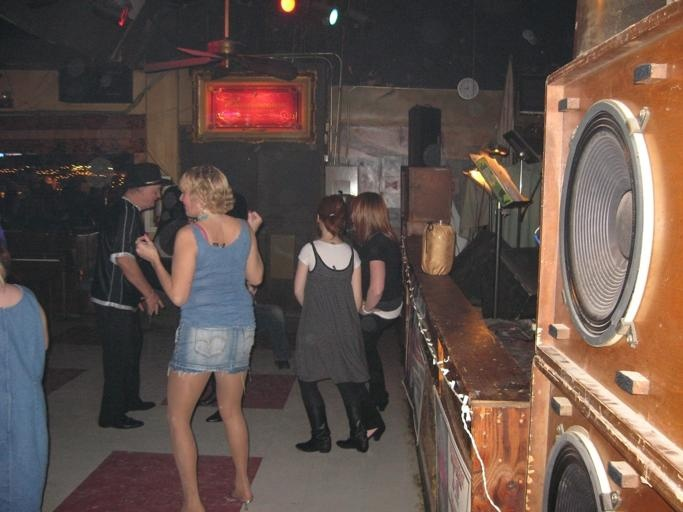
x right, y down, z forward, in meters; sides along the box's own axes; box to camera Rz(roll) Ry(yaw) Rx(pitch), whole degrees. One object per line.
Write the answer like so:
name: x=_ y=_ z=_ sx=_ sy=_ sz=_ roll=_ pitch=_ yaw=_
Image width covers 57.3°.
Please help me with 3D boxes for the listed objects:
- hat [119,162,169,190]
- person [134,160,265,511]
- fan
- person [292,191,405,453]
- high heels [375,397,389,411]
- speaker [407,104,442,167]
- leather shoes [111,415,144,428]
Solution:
hat: x=-1.439 y=-0.590 z=4.727 sx=0.241 sy=0.116 sz=0.297 roll=-1 pitch=6 yaw=6
person: x=-0.710 y=0.499 z=3.528 sx=0.621 sy=1.996 sz=0.336 roll=-6 pitch=11 yaw=-37
fan: x=-1.273 y=-1.972 z=6.367 sx=1.359 sy=0.644 sz=1.357 roll=-9 pitch=13 yaw=-36
person: x=-0.010 y=0.479 z=4.356 sx=0.613 sy=1.790 sz=0.402 roll=-1 pitch=9 yaw=-11
high heels: x=0.328 y=1.200 z=5.072 sx=0.064 sy=0.124 sz=0.044 roll=-2 pitch=44 yaw=1
speaker: x=1.134 y=-1.679 z=7.973 sx=0.430 sy=0.353 sz=1.056 roll=0 pitch=-31 yaw=8
leather shoes: x=-1.625 y=1.249 z=4.740 sx=0.193 sy=0.076 sz=0.105 roll=0 pitch=2 yaw=-1
